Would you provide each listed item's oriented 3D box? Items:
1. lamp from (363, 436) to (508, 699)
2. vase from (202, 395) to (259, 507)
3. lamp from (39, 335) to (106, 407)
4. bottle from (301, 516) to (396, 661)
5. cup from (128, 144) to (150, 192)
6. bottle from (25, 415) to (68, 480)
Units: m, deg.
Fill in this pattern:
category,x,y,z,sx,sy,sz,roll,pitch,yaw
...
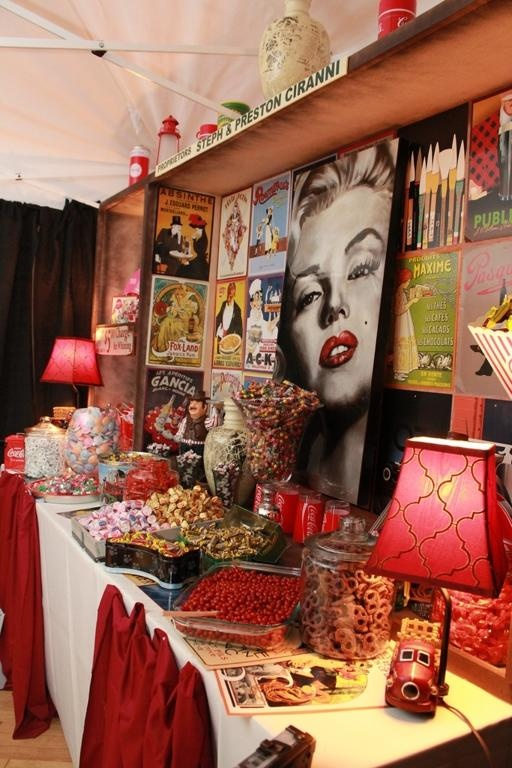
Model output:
category,x,y,z,sx,sy,sz,roll,pitch,yaw
lamp,0.245,0.212,0.759,0.198,0.291,0.220,1,5,25
vase,-0.069,0.220,1.807,0.177,0.348,0.179,3,9,5
lamp,-0.987,0.034,2.989,0.315,0.544,0.316,4,3,-12
bottle,0.166,0.348,1.003,0.156,0.225,0.162,2,1,0
cup,-0.554,-1.027,2.595,0.117,0.128,0.078,7,3,22
bottle,-0.887,0.263,2.329,0.158,0.257,0.156,5,6,0
